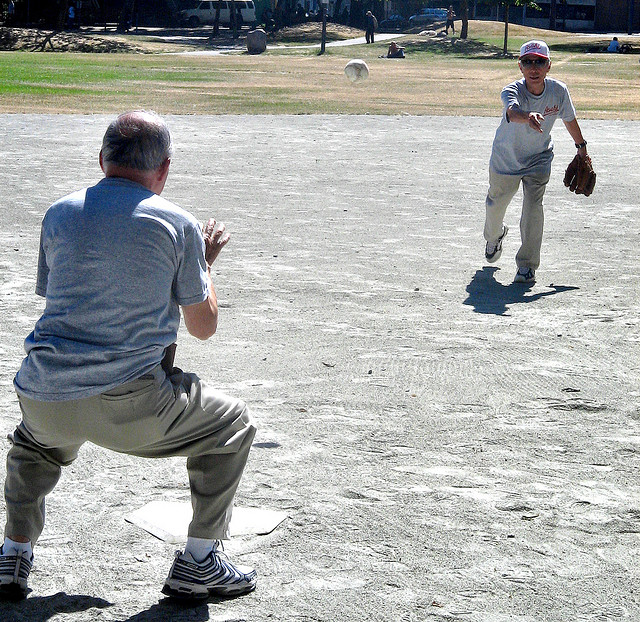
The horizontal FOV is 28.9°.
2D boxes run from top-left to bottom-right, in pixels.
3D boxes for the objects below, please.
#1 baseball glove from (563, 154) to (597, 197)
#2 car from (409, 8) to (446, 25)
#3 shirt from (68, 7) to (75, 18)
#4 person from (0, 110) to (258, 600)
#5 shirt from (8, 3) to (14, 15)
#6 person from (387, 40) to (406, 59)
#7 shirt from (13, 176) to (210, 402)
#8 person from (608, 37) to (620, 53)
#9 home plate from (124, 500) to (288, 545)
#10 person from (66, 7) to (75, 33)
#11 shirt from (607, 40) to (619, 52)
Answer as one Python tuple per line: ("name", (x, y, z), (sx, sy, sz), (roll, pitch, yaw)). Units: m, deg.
("baseball glove", (1.870, -0.954, 8.933), (0.343, 0.268, 0.131), (22, 60, 21))
("car", (6.584, -17.887, 75.242), (2.150, 1.052, 3.185), (4, 13, 3))
("shirt", (-11.236, -13.615, 56.443), (0.192, 0.448, 0.681), (3, 13, -7))
("person", (-0.612, 0.169, 4.262), (0.878, 1.669, 0.401), (3, 14, -4))
("shirt", (-13.465, -13.264, 54.296), (0.241, 0.487, 0.560), (1, 13, -14))
("person", (2.968, -9.907, 47.170), (0.697, 0.566, 1.425), (4, 13, 2))
("shirt", (-0.675, -0.068, 4.326), (0.616, 0.756, 0.516), (9, 8, -14))
("person", (12.296, -11.072, 51.758), (0.452, 0.531, 1.726), (7, 13, 11))
("home plate", (-0.447, 0.831, 4.771), (0.616, 0.056, 0.316), (5, 13, 8))
("person", (-11.262, -13.362, 56.448), (0.286, 0.953, 0.822), (2, 13, -11))
("shirt", (12.224, -11.015, 51.572), (0.445, 0.457, 0.986), (7, 13, 12))
